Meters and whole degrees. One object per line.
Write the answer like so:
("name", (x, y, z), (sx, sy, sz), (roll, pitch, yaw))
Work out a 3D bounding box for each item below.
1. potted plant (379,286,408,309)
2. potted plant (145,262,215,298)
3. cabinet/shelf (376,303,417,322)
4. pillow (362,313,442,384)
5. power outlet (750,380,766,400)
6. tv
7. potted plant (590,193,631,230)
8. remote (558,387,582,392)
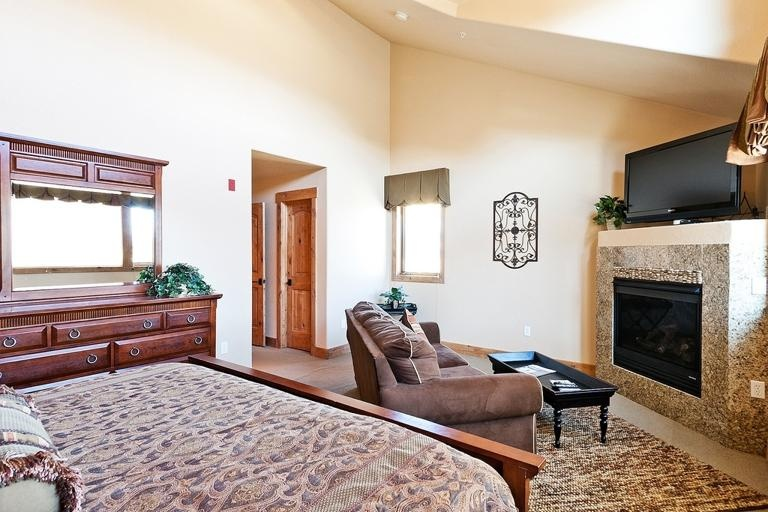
("potted plant", (0.128, 0.595, 6.997), (0.322, 0.204, 0.309), (2, 2, -1))
("potted plant", (-1.907, 0.248, 4.522), (0.402, 0.168, 0.377), (6, 1, 38))
("cabinet/shelf", (0.207, 0.743, 6.715), (0.448, 0.136, 0.344), (0, 0, -22))
("pillow", (0.115, 0.764, 3.932), (0.218, 0.203, 0.614), (-28, 11, -10))
("power outlet", (3.208, 1.145, 4.175), (0.111, 0.150, 0.023), (1, 3, 25))
("tv", (2.963, -0.802, 4.802), (0.137, 0.895, 1.284), (-2, 3, -28))
("potted plant", (2.553, -0.495, 5.507), (0.397, 0.261, 0.382), (1, -2, 3))
("remote", (1.578, 1.142, 4.165), (0.186, 0.010, 0.102), (0, 2, 2))
